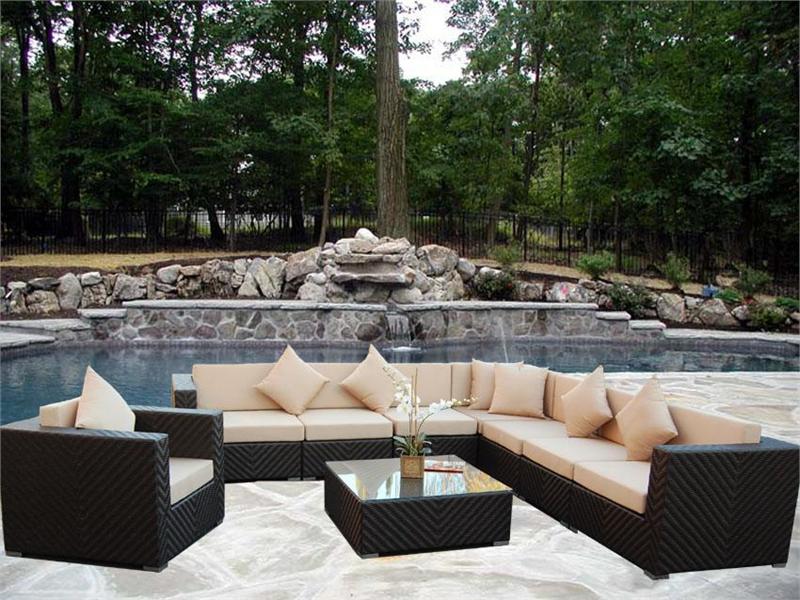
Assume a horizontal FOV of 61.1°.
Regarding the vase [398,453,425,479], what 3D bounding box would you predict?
[{"bbox_3d":[0.095,1.544,6.392,0.193,0.216,0.208,0,1,14],"label":"vase"}]
